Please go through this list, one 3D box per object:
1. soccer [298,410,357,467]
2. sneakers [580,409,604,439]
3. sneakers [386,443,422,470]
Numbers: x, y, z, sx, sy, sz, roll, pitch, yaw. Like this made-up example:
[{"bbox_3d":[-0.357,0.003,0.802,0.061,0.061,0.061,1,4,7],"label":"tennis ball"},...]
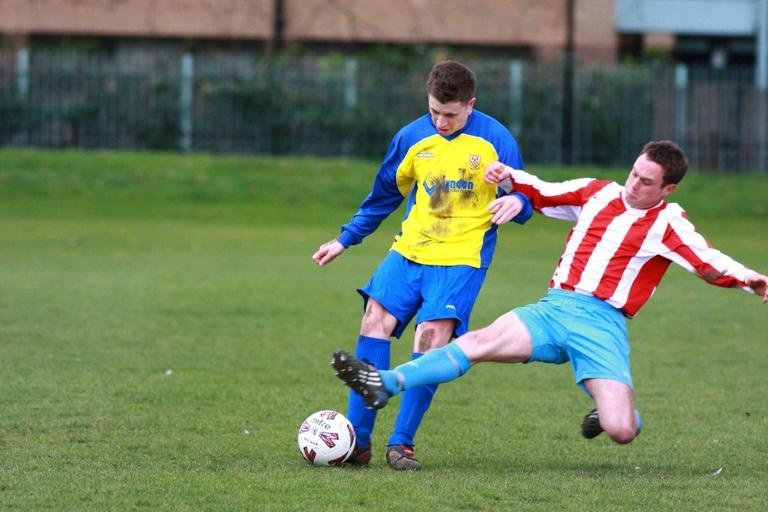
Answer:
[{"bbox_3d":[-0.590,1.821,14.160,0.531,0.501,0.542,-19,18,-31],"label":"soccer"},{"bbox_3d":[2.137,1.757,14.204,0.235,0.296,0.138,15,-10,40],"label":"sneakers"},{"bbox_3d":[0.173,2.046,14.044,0.185,0.156,0.348,-10,10,-23],"label":"sneakers"}]
